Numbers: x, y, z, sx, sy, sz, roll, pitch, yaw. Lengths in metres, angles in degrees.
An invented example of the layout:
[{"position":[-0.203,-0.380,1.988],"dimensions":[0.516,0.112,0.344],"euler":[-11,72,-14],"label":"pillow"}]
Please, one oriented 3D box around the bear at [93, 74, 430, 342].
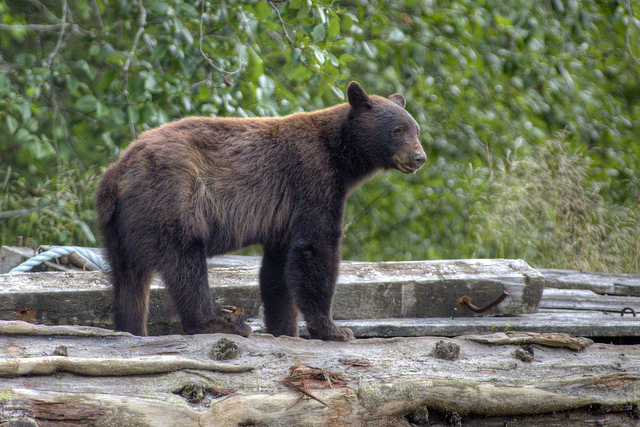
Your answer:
[{"position":[-0.676,0.022,13.893],"dimensions":[3.848,2.952,1.354],"euler":[-1,4,-18],"label":"bear"}]
